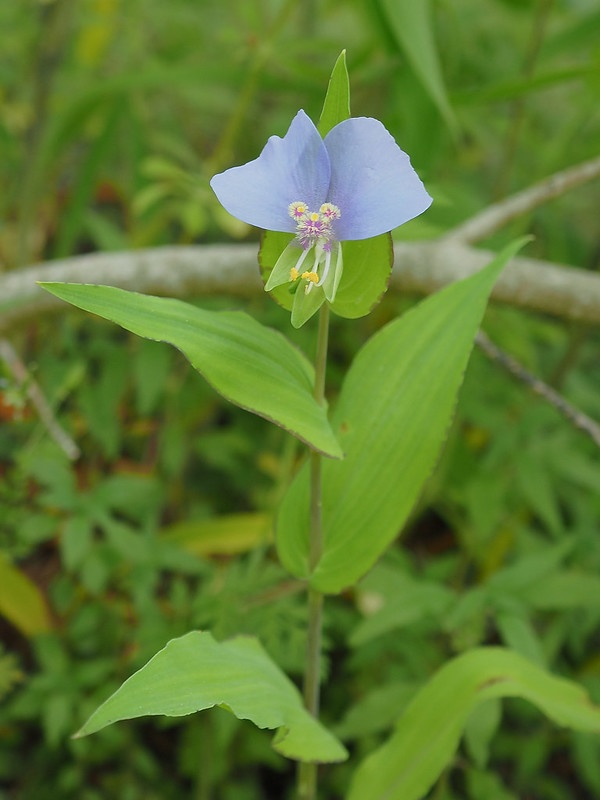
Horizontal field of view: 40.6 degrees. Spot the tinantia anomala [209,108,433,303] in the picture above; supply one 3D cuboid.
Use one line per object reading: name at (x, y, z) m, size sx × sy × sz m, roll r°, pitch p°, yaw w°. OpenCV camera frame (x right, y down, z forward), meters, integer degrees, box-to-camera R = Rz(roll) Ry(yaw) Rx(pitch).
tinantia anomala at (0.003, -0.054, 0.267) m, size 0.077 × 0.044 × 0.056 m, roll -20°, pitch 54°, yaw -6°
